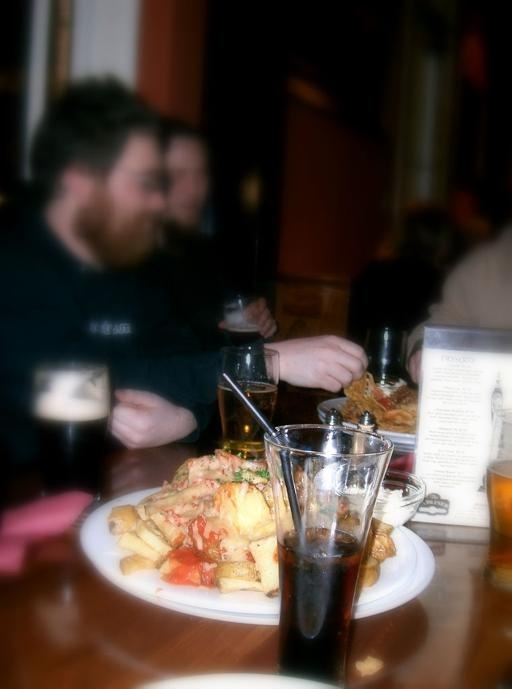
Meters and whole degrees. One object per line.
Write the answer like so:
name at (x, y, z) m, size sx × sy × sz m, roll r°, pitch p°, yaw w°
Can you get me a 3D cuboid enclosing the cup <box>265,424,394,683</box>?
cup at (0.057, 0.164, 0.529) m, size 0.107 × 0.189 × 0.167 m, roll 2°, pitch 10°, yaw -4°
